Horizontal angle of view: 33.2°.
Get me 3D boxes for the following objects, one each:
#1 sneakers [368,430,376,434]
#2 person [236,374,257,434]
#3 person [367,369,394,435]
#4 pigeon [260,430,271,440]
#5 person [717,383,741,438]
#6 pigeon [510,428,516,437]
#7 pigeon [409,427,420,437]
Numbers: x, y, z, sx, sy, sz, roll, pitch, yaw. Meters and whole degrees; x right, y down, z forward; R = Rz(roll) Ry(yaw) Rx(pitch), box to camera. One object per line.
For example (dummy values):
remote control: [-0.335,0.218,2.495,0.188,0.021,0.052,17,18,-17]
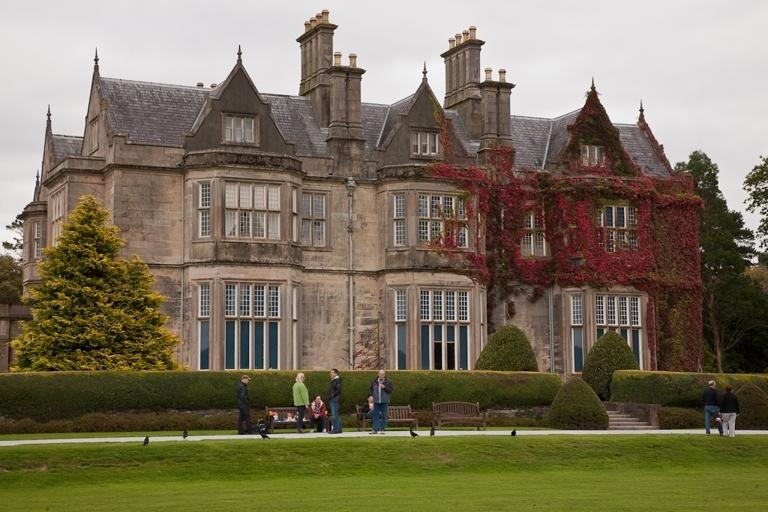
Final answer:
sneakers: [-0.391,6.323,45.873,0.312,0.121,0.102,13,-16,-39]
person: [-4.989,5.339,45.987,0.506,2.095,1.317,0,-8,-6]
person: [-0.166,5.234,45.907,0.743,2.227,1.493,-1,-8,-2]
pigeon: [-4.107,6.128,43.811,0.201,0.278,0.620,0,-17,-2]
person: [12.605,5.672,47.155,0.651,1.805,1.238,-3,-8,14]
pigeon: [4.572,6.304,45.626,0.190,0.343,0.185,3,-10,-16]
pigeon: [0.994,6.207,44.813,0.248,0.200,0.330,-9,-27,12]
